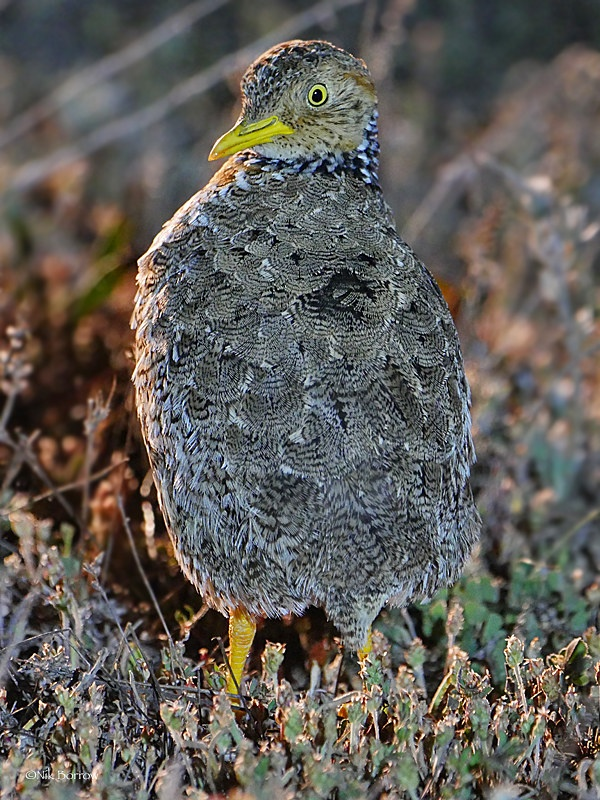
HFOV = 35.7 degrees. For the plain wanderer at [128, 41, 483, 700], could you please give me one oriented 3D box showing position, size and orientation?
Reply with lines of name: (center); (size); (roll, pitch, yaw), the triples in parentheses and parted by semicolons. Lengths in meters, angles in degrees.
plain wanderer: (0.016, -0.095, 2.597); (1.052, 0.961, 1.715); (0, 105, 4)
